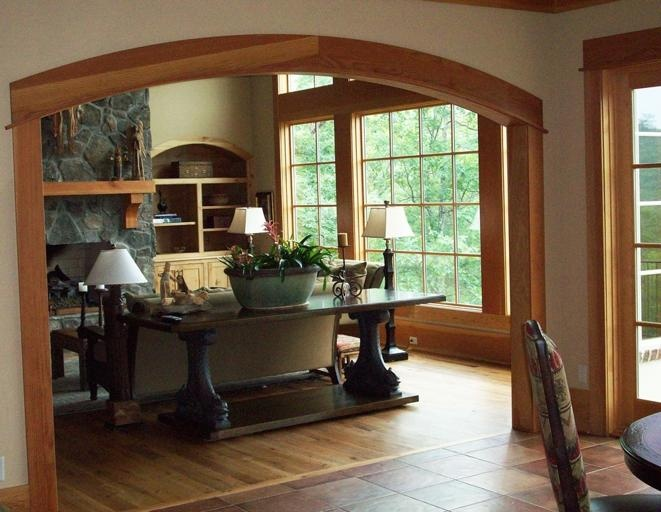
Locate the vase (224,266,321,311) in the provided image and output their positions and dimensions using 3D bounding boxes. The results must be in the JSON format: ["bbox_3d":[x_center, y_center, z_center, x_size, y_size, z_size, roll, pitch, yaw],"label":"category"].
[{"bbox_3d":[-0.472,0.274,4.740,0.577,0.179,0.479,-2,-2,19],"label":"vase"}]

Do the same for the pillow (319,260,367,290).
[{"bbox_3d":[0.132,0.200,5.994,0.453,0.252,0.141,4,-27,34],"label":"pillow"}]

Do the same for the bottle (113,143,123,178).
[{"bbox_3d":[-3.046,-1.334,8.165,0.134,0.500,0.247,-4,3,-8],"label":"bottle"}]

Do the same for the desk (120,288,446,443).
[{"bbox_3d":[-0.391,0.892,4.894,2.350,1.007,0.863,-4,3,-28],"label":"desk"}]

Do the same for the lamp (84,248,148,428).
[{"bbox_3d":[-1.772,0.680,4.815,0.447,1.467,0.380,-5,4,-20],"label":"lamp"}]

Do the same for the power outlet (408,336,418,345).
[{"bbox_3d":[1.057,1.065,7.315,0.023,0.086,0.158,-6,9,-42],"label":"power outlet"}]
